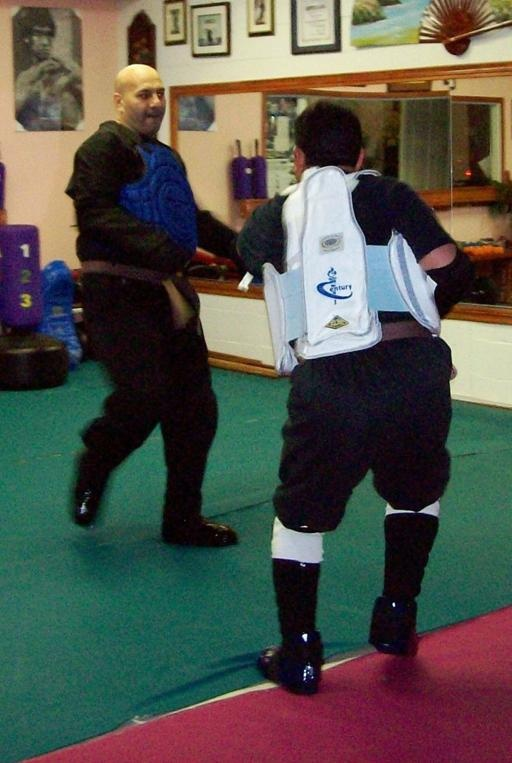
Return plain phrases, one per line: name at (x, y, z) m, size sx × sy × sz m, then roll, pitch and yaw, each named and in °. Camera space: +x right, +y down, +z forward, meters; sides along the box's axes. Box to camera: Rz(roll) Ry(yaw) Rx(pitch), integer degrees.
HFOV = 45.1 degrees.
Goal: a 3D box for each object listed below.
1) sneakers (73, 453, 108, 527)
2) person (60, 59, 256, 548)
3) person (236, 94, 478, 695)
sneakers at (-0.494, 0.322, 1.888) m, size 0.094 × 0.276 × 0.113 m, roll 4°, pitch 30°, yaw -3°
person at (-0.288, -0.089, 1.673) m, size 0.597 × 1.167 × 0.303 m, roll 3°, pitch 7°, yaw 21°
person at (0.156, 0.061, 1.003) m, size 0.363 × 0.977 × 0.226 m, roll -1°, pitch 7°, yaw -5°
